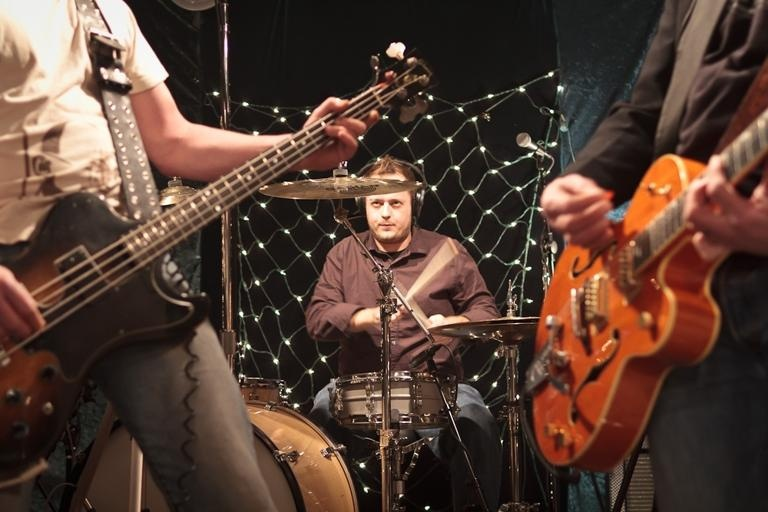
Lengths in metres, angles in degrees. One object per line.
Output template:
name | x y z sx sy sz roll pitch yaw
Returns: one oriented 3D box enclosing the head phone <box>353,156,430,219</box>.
head phone | 0.069 -0.412 4.546 0.390 0.383 0.165 1 -3 5
